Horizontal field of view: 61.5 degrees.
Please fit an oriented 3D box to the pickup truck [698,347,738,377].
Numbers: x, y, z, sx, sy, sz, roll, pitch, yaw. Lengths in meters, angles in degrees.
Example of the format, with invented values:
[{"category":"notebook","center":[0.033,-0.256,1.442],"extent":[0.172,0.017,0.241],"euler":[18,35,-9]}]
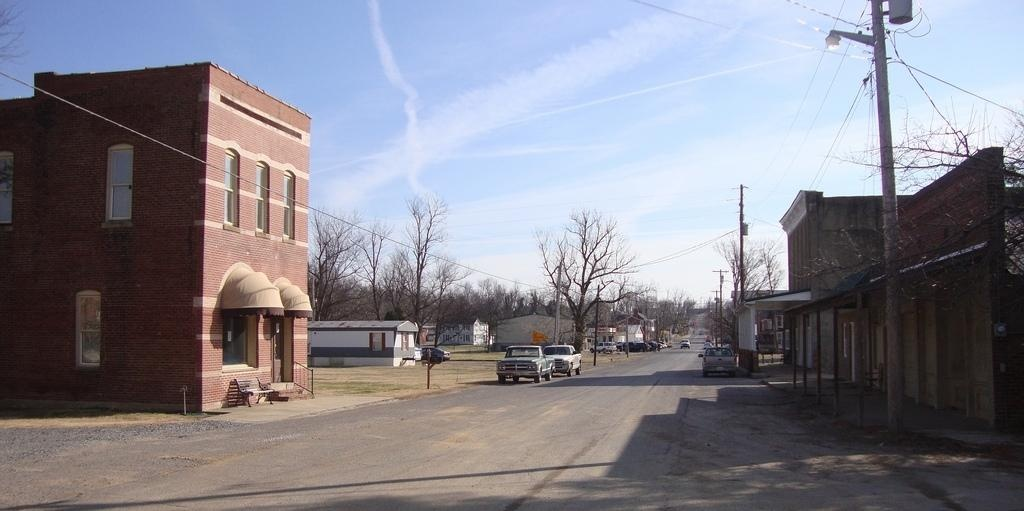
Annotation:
[{"category":"pickup truck","center":[14.297,7.281,59.634],"extent":[2.089,2.069,1.925],"euler":[-7,-13,17]}]
